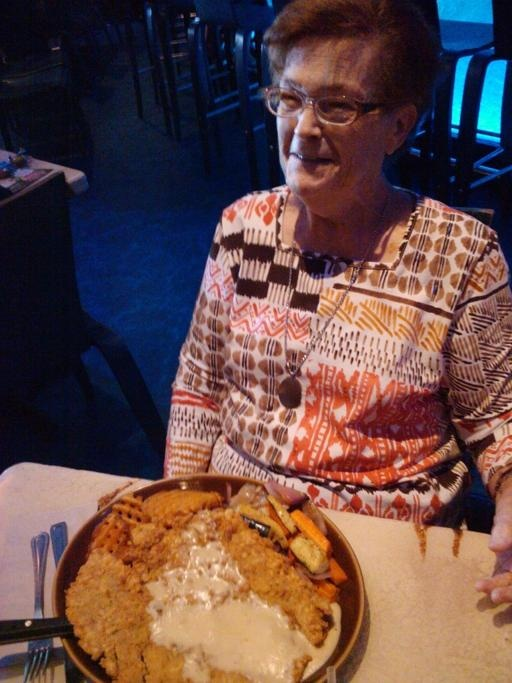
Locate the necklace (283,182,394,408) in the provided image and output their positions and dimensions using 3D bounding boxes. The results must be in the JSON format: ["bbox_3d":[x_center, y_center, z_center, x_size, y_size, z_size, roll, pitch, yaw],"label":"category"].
[{"bbox_3d":[0.132,-0.076,0.970,0.132,0.021,0.381,14,82,22],"label":"necklace"}]

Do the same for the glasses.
[{"bbox_3d":[0.093,-0.327,0.801,0.151,0.044,0.064,9,35,21],"label":"glasses"}]
